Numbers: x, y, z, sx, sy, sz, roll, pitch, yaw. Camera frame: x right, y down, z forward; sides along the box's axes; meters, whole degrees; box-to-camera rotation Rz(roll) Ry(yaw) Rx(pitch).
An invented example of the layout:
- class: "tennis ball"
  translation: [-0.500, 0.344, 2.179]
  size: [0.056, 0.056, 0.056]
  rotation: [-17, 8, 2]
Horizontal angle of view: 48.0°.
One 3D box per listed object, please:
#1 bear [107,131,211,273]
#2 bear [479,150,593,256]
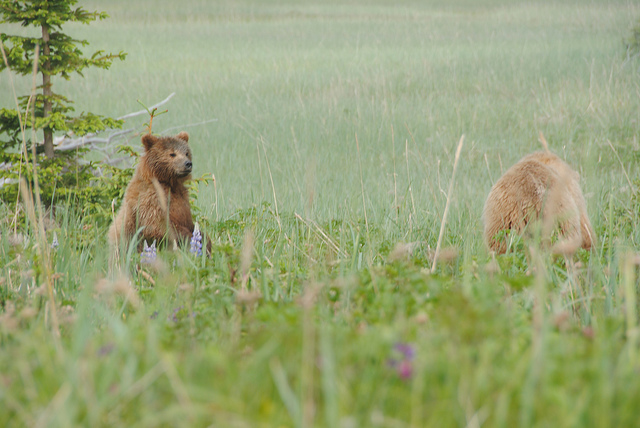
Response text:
- class: "bear"
  translation: [-1.614, -0.113, 6.887]
  size: [0.774, 1.342, 1.232]
  rotation: [0, 4, -32]
- class: "bear"
  translation: [1.626, -0.106, 5.515]
  size: [0.593, 0.742, 1.071]
  rotation: [3, 13, 28]
